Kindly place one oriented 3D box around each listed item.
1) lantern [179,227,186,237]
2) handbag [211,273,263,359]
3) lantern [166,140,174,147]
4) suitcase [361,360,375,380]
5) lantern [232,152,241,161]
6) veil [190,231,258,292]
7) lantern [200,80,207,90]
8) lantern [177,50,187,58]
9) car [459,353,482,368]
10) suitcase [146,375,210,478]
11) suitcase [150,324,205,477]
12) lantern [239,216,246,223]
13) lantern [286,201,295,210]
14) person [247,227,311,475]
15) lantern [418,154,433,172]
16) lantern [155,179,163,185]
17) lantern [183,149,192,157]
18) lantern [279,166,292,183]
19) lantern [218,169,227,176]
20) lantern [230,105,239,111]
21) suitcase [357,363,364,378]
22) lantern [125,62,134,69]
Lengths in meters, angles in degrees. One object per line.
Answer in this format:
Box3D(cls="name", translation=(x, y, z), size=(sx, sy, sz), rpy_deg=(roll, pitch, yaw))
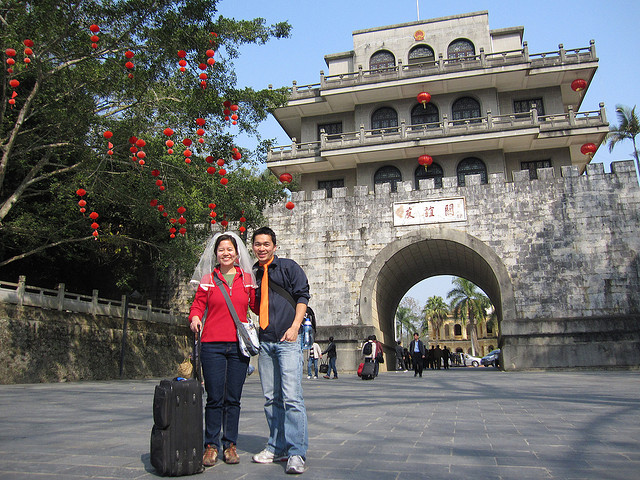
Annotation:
Box3D(cls="lantern", translation=(-4.541, -0.270, 16.798), size=(0.255, 0.317, 0.278), rpy_deg=(-10, -1, 2))
Box3D(cls="handbag", translation=(-1.139, 1.037, 7.140), size=(0.708, 1.158, 0.231), rpy_deg=(-3, -12, 15))
Box3D(cls="lantern", translation=(-4.194, -2.663, 14.261), size=(0.164, 0.190, 0.178), rpy_deg=(-5, 7, -8))
Box3D(cls="suitcase", translation=(1.761, 4.399, 17.592), size=(0.500, 0.496, 0.861), rpy_deg=(-2, 18, 16))
Box3D(cls="lantern", translation=(-2.800, -2.826, 17.120), size=(0.252, 0.288, 0.348), rpy_deg=(3, -13, -12))
Box3D(cls="veil", translation=(-1.364, 0.301, 7.376), size=(0.937, 0.892, 0.357), rpy_deg=(3, -12, -11))
Box3D(cls="lantern", translation=(-3.499, -4.630, 15.352), size=(0.084, 0.100, 0.282), rpy_deg=(4, -21, 0))
Box3D(cls="lantern", translation=(-3.731, -4.977, 13.758), size=(0.158, 0.105, 0.173), rpy_deg=(-9, -5, 7))
Box3D(cls="car", translation=(12.747, 10.410, 44.342), size=(2.083, 1.316, 1.356), rpy_deg=(-10, -10, 28))
Box3D(cls="suitcase", translation=(-1.814, 2.378, 6.558), size=(0.655, 1.177, 0.222), rpy_deg=(4, -12, -17))
Box3D(cls="suitcase", translation=(-1.804, 2.377, 6.556), size=(0.677, 1.177, 0.219), rpy_deg=(4, -12, -16))
Box3D(cls="lantern", translation=(-2.691, -0.708, 17.734), size=(0.263, 0.162, 0.289), rpy_deg=(-1, 0, 5))
Box3D(cls="lantern", translation=(-1.192, -1.328, 19.883), size=(0.315, 0.276, 0.346), rpy_deg=(-2, 3, 1))
Box3D(cls="person", translation=(-0.564, 1.412, 7.029), size=(0.800, 3.152, 0.459), rpy_deg=(1, -11, 0))
Box3D(cls="lantern", translation=(5.046, -3.707, 24.714), size=(0.608, 0.925, 0.652), rpy_deg=(3, 2, 27))
Box3D(cls="lantern", translation=(-4.981, -1.760, 15.877), size=(0.178, 0.112, 0.196), rpy_deg=(0, -4, 0))
Box3D(cls="lantern", translation=(-3.776, -2.448, 14.568), size=(0.182, 0.192, 0.200), rpy_deg=(-1, 8, -1))
Box3D(cls="lantern", translation=(-1.354, -2.529, 20.217), size=(0.506, 0.599, 0.756), rpy_deg=(7, -19, -1))
Box3D(cls="lantern", translation=(-3.022, -2.110, 15.842), size=(0.187, 0.252, 0.385), rpy_deg=(3, -13, -10))
Box3D(cls="lantern", translation=(-2.655, -4.044, 15.677), size=(0.183, 0.113, 0.179), rpy_deg=(-3, 0, -45))
Box3D(cls="suitcase", translation=(1.399, 4.455, 17.887), size=(0.278, 0.483, 0.467), rpy_deg=(8, -28, 7))
Box3D(cls="lantern", translation=(-5.007, -4.610, 13.533), size=(0.163, 0.130, 0.164), rpy_deg=(4, -8, -38))
